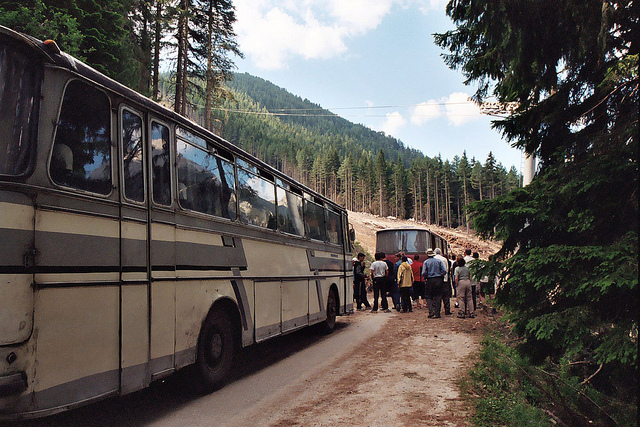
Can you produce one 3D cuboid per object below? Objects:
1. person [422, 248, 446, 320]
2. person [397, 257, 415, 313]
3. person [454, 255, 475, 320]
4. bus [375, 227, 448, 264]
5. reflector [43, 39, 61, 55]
[{"bbox_3d":[4.043,2.633,16.986,0.758,2.119,0.564,-1,-2,15],"label":"person"},{"bbox_3d":[3.437,2.846,19.107,0.662,2.212,1.492,-1,-2,11],"label":"person"},{"bbox_3d":[5.036,2.582,16.703,0.645,2.131,1.022,-1,-2,18],"label":"person"},{"bbox_3d":[4.509,1.620,24.273,1.515,1.532,4.883,-4,-13,19],"label":"bus"},{"bbox_3d":[-3.961,-2.484,7.049,0.210,0.271,0.218,-1,-2,2],"label":"reflector"}]
